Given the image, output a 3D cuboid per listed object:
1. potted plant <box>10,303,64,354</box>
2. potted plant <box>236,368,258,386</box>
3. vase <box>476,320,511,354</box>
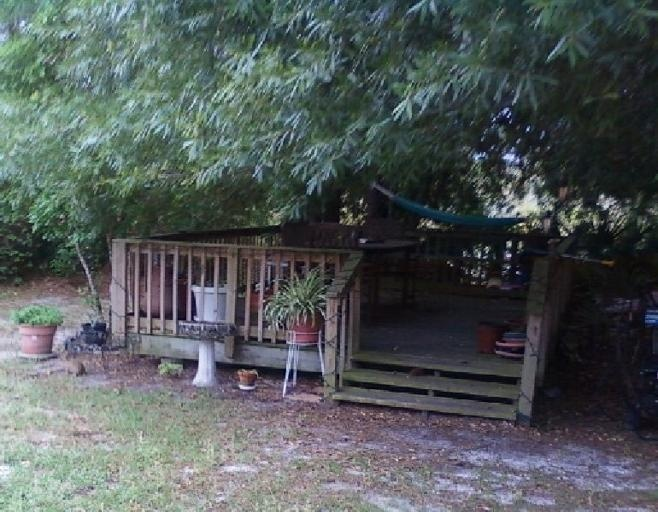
[{"bbox_3d":[-3.965,0.972,8.365,0.688,0.786,0.584,1,-2,-5],"label":"potted plant"},{"bbox_3d":[-0.951,1.418,7.213,0.224,0.197,0.249,0,8,-14],"label":"potted plant"},{"bbox_3d":[1.965,1.007,7.524,0.303,0.303,0.303,5,-3,27],"label":"vase"}]
